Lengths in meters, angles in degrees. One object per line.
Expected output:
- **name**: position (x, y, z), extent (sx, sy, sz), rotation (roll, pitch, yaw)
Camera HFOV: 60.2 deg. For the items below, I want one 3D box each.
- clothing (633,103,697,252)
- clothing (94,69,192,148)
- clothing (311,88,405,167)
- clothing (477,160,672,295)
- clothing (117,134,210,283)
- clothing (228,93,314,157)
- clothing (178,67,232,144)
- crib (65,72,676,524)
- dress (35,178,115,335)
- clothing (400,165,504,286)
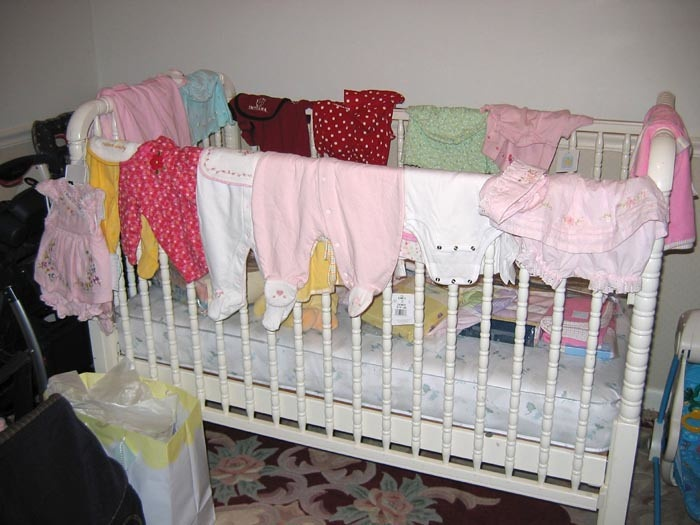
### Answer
- **clothing**: position (1.034, -0.271, 1.979), extent (0.244, 0.386, 0.505), rotation (4, 36, 28)
- **clothing**: position (-0.899, -0.636, 2.716), extent (0.470, 0.228, 0.365), rotation (9, 13, -9)
- **clothing**: position (0.025, -0.620, 2.783), extent (0.418, 0.465, 0.189), rotation (5, 5, 12)
- **clothing**: position (0.689, -0.110, 1.827), extent (0.449, 0.385, 0.158), rotation (11, 11, 22)
- **clothing**: position (-0.778, -0.193, 2.236), extent (0.443, 0.462, 0.125), rotation (34, 37, 32)
- **clothing**: position (-0.375, -0.638, 2.831), extent (0.399, 0.352, 0.082), rotation (10, 31, 16)
- **clothing**: position (-0.701, -0.748, 2.880), extent (0.091, 0.321, 0.307), rotation (16, 38, 43)
- **crib**: position (0.050, -0.303, 2.824), extent (2.420, 1.767, 1.404), rotation (7, 23, 18)
- **dress**: position (-1.075, -0.020, 2.330), extent (0.322, 0.561, 0.135), rotation (14, 24, 7)
- **clothing**: position (0.316, -0.116, 1.914), extent (0.316, 0.358, 0.113), rotation (7, 20, 15)
